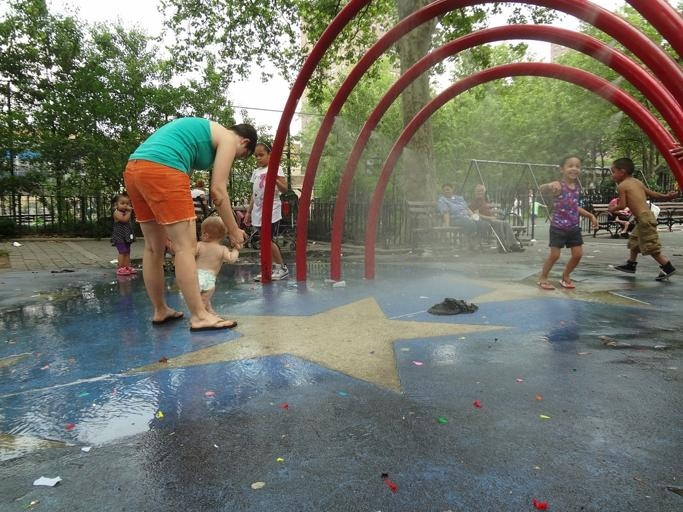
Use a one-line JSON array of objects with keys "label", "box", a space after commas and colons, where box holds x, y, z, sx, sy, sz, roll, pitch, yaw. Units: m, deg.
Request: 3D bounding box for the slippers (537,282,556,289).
[{"label": "slippers", "box": [2.880, 0.413, 5.633, 0.104, 0.046, 0.180, -2, 1, -17]}]

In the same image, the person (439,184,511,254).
[{"label": "person", "box": [3.286, -1.088, 10.763, 1.024, 2.288, 1.320, 0, -10, -30]}]

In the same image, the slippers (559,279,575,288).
[{"label": "slippers", "box": [3.192, 0.399, 5.658, 0.103, 0.060, 0.177, -2, 0, 0]}]

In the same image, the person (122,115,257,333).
[{"label": "person", "box": [-1.484, -0.317, 3.838, 1.056, 2.053, 0.593, -2, 7, -11]}]

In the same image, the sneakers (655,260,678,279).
[{"label": "sneakers", "box": [4.959, 0.210, 6.114, 0.194, 0.275, 0.404, 5, 9, 38]}]

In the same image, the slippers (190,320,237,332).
[{"label": "slippers", "box": [-1.217, 0.674, 3.824, 0.400, 0.101, 0.146, -5, 0, -12]}]
